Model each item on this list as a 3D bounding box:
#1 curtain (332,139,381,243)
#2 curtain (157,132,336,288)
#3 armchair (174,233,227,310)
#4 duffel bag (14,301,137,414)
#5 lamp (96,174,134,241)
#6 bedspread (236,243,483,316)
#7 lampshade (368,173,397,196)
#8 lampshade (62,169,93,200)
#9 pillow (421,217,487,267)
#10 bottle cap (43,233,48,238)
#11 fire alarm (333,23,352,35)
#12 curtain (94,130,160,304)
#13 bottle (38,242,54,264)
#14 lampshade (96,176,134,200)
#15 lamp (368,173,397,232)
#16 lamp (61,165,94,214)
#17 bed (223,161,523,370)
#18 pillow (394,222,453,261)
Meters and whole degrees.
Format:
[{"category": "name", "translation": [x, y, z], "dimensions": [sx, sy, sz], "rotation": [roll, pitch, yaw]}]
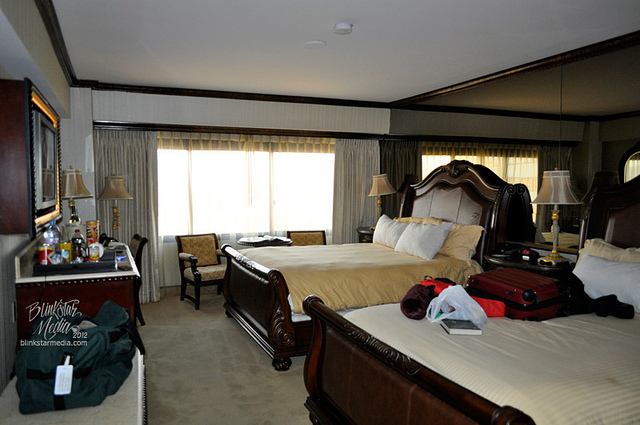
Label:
[{"category": "curtain", "translation": [0.670, -0.489, 7.978], "dimensions": [0.499, 2.147, 0.788], "rotation": [1, 6, -34]}, {"category": "curtain", "translation": [-1.256, -0.372, 7.650], "dimensions": [3.064, 2.725, 0.126], "rotation": [-1, 45, -18]}, {"category": "armchair", "translation": [-1.951, 0.846, 6.835], "dimensions": [0.920, 1.228, 0.931], "rotation": [-1, 3, -37]}, {"category": "duffel bag", "translation": [-1.698, 1.001, 2.962], "dimensions": [0.575, 0.306, 0.747], "rotation": [2, 7, -12]}, {"category": "lamp", "translation": [-3.148, 0.023, 6.350], "dimensions": [0.425, 1.233, 0.498], "rotation": [3, 10, -11]}, {"category": "bedspread", "translation": [0.446, 0.753, 5.055], "dimensions": [2.383, 0.769, 1.706], "rotation": [0, 2, -24]}, {"category": "lampshade", "translation": [1.110, -0.488, 7.353], "dimensions": [0.377, 0.269, 0.386], "rotation": [0, 16, 31]}, {"category": "lampshade", "translation": [-3.049, -0.357, 5.282], "dimensions": [0.353, 0.391, 0.348], "rotation": [-5, 5, -40]}, {"category": "pillow", "translation": [1.965, 0.219, 5.857], "dimensions": [0.716, 0.287, 1.025], "rotation": [34, -16, -37]}, {"category": "bottle cap", "translation": [-2.713, 0.232, 4.116], "dimensions": [0.041, 0.040, 0.010], "rotation": [4, -15, 35]}, {"category": "fire alarm", "translation": [0.240, -1.970, 4.415], "dimensions": [0.205, 0.053, 0.234], "rotation": [1, 10, 5]}, {"category": "curtain", "translation": [-3.174, 0.158, 6.863], "dimensions": [0.930, 2.940, 0.859], "rotation": [3, 5, -14]}, {"category": "bottle", "translation": [-2.626, 0.401, 3.974], "dimensions": [0.119, 0.175, 0.239], "rotation": [-7, 12, -34]}, {"category": "lampshade", "translation": [-3.127, -0.347, 6.226], "dimensions": [0.382, 0.381, 0.464], "rotation": [-9, 14, -43]}, {"category": "lamp", "translation": [1.075, -0.160, 7.423], "dimensions": [0.453, 1.056, 0.461], "rotation": [-1, 3, -20]}, {"category": "lamp", "translation": [-3.023, -0.294, 5.137], "dimensions": [0.272, 0.653, 0.379], "rotation": [-1, 3, -22]}, {"category": "bed", "translation": [0.585, 0.417, 5.920], "dimensions": [3.297, 2.215, 2.465], "rotation": [-2, 5, -21]}, {"category": "pillow", "translation": [1.453, 0.378, 5.706], "dimensions": [0.448, 0.472, 0.715], "rotation": [2, 5, -33]}]
